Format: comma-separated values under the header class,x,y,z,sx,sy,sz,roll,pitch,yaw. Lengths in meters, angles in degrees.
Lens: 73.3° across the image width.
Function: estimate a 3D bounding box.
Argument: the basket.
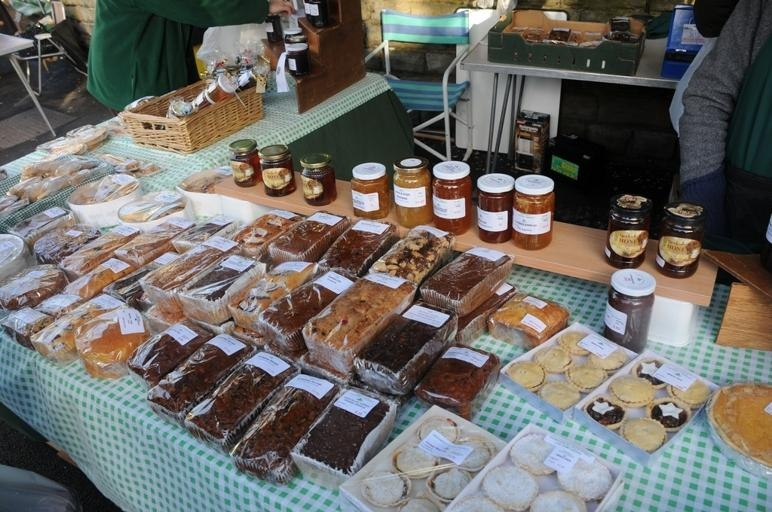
class,x,y,z,sx,sy,sz,roll,pitch,yaw
basket,-1.009,-0.716,2.769,0.454,0.179,0.589,15,34,35
